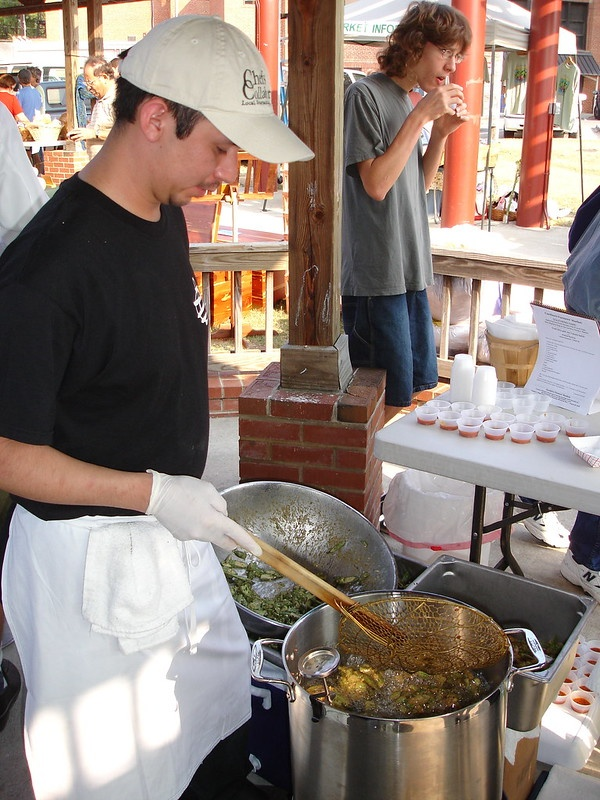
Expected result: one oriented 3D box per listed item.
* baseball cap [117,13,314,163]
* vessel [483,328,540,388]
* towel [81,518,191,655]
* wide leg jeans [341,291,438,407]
[{"bbox_3d":[-0.159,-0.478,1.115,0.335,0.169,0.214,31,35,7],"label":"baseball cap"},{"bbox_3d":[0.834,-0.174,2.613,0.208,0.180,0.200,7,23,18],"label":"vessel"},{"bbox_3d":[-0.305,0.342,1.234,0.212,0.231,0.090,-8,5,-31],"label":"towel"},{"bbox_3d":[0.392,-0.243,2.995,0.314,0.563,0.393,10,23,38],"label":"wide leg jeans"}]
